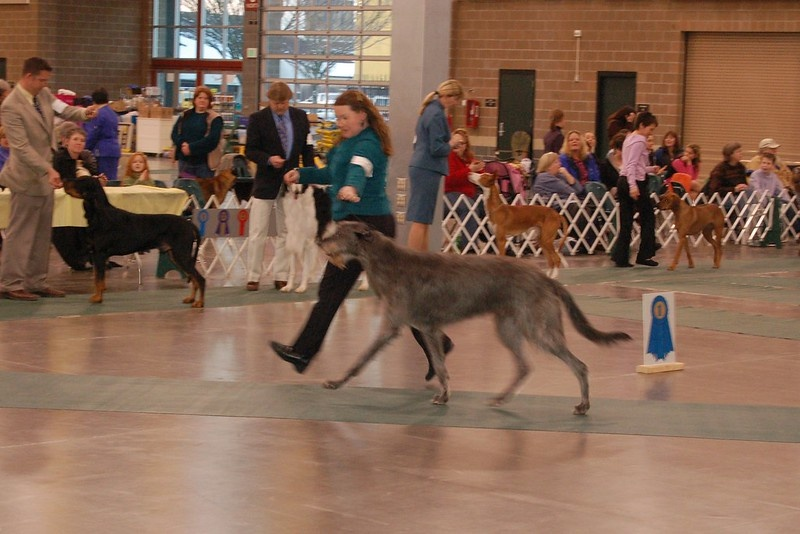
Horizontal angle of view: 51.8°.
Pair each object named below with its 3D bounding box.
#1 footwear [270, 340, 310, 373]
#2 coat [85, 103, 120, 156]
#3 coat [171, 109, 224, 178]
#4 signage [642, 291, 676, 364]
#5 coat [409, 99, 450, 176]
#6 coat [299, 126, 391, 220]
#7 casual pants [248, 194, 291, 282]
[{"bbox_3d":[-0.840,0.702,6.359,0.376,0.146,0.112,32,22,-7],"label":"footwear"},{"bbox_3d":[-4.585,-2.064,12.605,0.456,0.805,0.617,1,9,-5],"label":"coat"},{"bbox_3d":[-2.828,-1.708,11.505,0.704,0.950,0.328,1,10,-4],"label":"coat"},{"bbox_3d":[2.172,0.520,6.923,0.160,0.623,0.526,12,13,43],"label":"signage"},{"bbox_3d":[0.358,-1.464,9.315,0.436,0.839,0.324,2,10,0],"label":"coat"},{"bbox_3d":[-0.318,-0.706,6.277,0.516,0.704,0.425,3,10,4],"label":"coat"},{"bbox_3d":[-1.642,-0.351,10.260,0.488,1.058,0.715,0,10,-11],"label":"casual pants"}]
